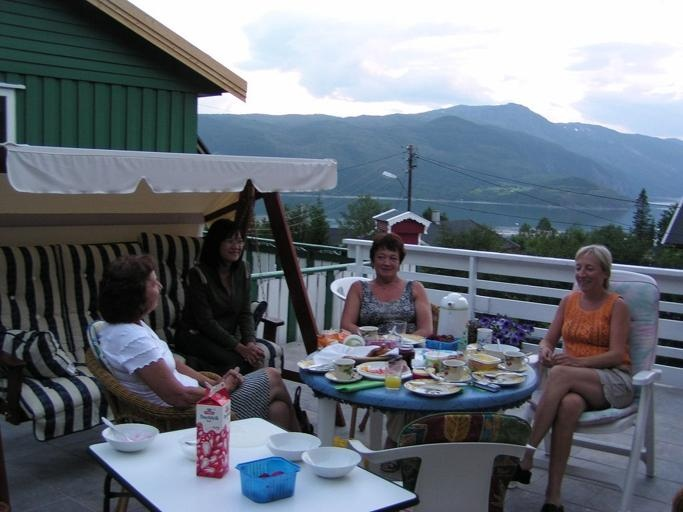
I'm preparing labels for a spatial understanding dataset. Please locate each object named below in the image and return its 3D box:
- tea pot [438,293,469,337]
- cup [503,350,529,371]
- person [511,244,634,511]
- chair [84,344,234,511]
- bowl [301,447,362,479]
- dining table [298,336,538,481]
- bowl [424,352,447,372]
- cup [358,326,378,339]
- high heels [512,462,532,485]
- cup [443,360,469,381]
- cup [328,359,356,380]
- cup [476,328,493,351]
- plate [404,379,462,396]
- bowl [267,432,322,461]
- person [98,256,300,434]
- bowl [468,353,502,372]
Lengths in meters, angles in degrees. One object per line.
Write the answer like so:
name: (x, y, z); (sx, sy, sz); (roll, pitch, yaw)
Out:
tea pot: (0.760, 0.417, 3.955); (0.215, 0.291, 0.282); (-1, 8, -6)
cup: (1.023, 0.612, 3.414); (0.137, 0.086, 0.115); (-1, 1, -35)
person: (1.579, 0.763, 3.840); (0.651, 1.612, 1.139); (3, 9, 26)
chair: (-0.953, 0.993, 3.625); (0.910, 0.843, 0.869); (-3, -1, 1)
bowl: (-0.045, 0.830, 2.301); (0.254, 0.065, 0.234); (1, 2, 0)
dining table: (0.229, 0.973, 3.399); (0.827, 0.496, 0.819); (9, 5, 37)
bowl: (0.552, 0.628, 3.399); (0.107, 0.068, 0.103); (-1, 2, 0)
cup: (0.175, 0.513, 3.853); (0.099, 0.068, 0.080); (-3, -2, 36)
high heels: (1.140, 1.401, 3.686); (0.097, 0.098, 0.269); (-3, -18, 15)
cup: (0.631, 0.640, 3.248); (0.136, 0.086, 0.107); (1, -2, -33)
cup: (0.005, 0.624, 3.181); (0.130, 0.083, 0.098); (-3, 15, -5)
cup: (0.930, 0.546, 3.780); (0.111, 0.148, 0.128); (1, 6, 8)
plate: (0.488, 0.710, 3.082); (0.309, 0.039, 0.182); (1, 7, 9)
bowl: (-0.207, 0.805, 2.450); (0.137, 0.042, 0.127); (2, 13, 0)
person: (-0.776, 0.667, 3.562); (1.458, 1.114, 0.652); (9, -4, -26)
bowl: (0.843, 0.616, 3.390); (0.150, 0.044, 0.102); (-6, 10, -44)
